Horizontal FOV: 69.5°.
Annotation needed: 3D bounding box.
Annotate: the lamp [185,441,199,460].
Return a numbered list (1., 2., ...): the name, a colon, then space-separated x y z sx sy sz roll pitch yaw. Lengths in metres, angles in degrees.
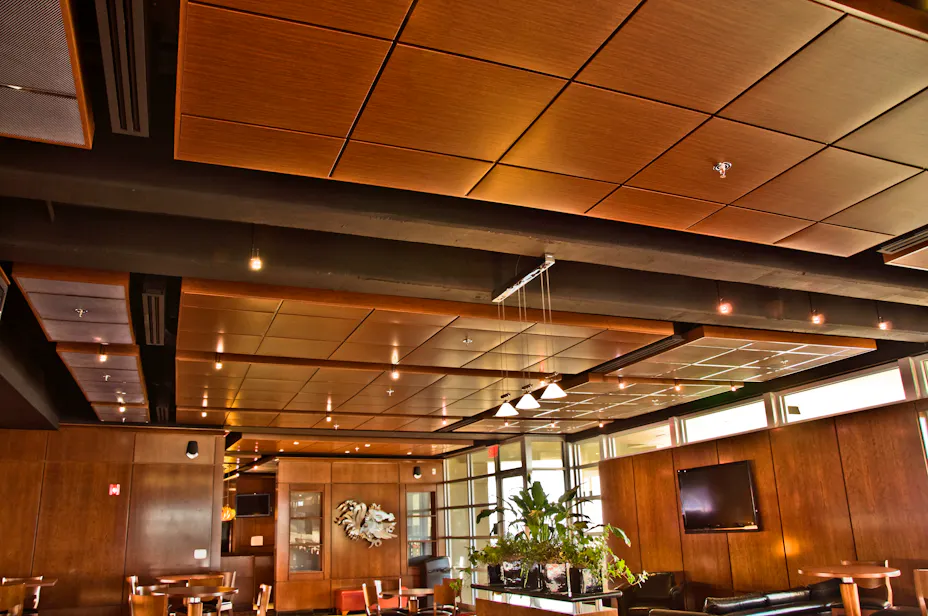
1. lamp: -5.512 2.908 13.559 0.255 0.342 0.366 5 -26 -14

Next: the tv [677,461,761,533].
1. tv: 4.409 3.308 11.555 0.176 1.124 1.517 17 -30 -31

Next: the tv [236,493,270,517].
1. tv: -6.382 5.989 20.103 1.062 0.505 0.112 0 -25 -7
